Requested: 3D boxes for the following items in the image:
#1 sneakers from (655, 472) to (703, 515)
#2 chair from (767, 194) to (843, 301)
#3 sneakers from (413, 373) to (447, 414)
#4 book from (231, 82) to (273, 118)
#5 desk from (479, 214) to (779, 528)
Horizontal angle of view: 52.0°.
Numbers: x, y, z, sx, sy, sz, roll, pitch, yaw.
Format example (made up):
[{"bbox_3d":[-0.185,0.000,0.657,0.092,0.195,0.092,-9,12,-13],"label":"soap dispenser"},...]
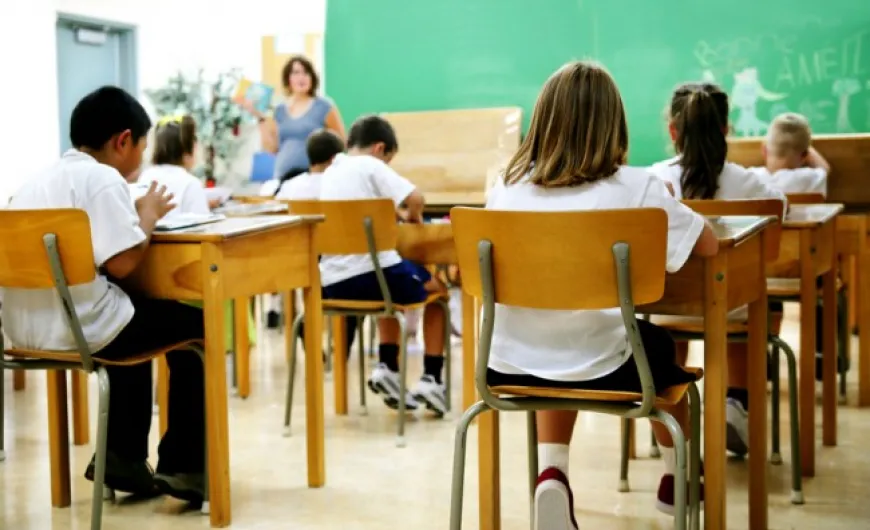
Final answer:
[{"bbox_3d":[1.002,0.931,3.627,0.137,0.142,0.225,1,2,34],"label":"sneakers"},{"bbox_3d":[1.630,-0.067,4.026,0.426,0.526,0.569,0,4,20],"label":"chair"},{"bbox_3d":[-0.002,0.694,4.733,0.109,0.136,0.304,-9,-30,42],"label":"sneakers"},{"bbox_3d":[-1.319,-1.224,6.471,0.257,0.266,0.324,-2,4,-12],"label":"book"},{"bbox_3d":[0.882,0.423,4.157,1.305,1.570,1.060,-1,2,22],"label":"desk"}]
